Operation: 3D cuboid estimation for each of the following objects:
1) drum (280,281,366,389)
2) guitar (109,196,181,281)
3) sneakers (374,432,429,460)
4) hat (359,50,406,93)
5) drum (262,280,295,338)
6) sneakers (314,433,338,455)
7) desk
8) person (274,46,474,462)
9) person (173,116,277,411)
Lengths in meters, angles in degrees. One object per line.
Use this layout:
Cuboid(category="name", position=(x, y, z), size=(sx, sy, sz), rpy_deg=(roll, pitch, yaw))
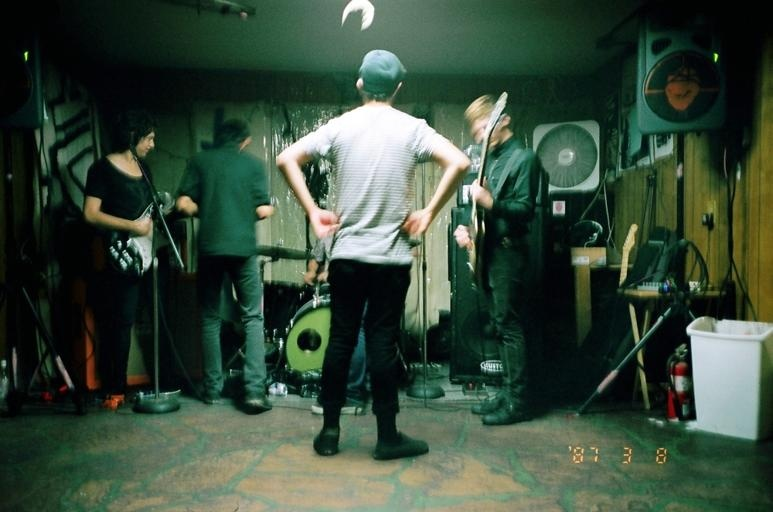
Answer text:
Cuboid(category="drum", position=(-0.464, 0.706, 6.988), size=(0.782, 0.795, 0.878), rpy_deg=(0, 44, 5))
Cuboid(category="guitar", position=(-1.898, -0.130, 6.316), size=(0.520, 0.632, 0.449), rpy_deg=(-8, 16, -27))
Cuboid(category="sneakers", position=(0.098, 1.300, 5.509), size=(0.333, 0.145, 0.162), rpy_deg=(-2, -7, -17))
Cuboid(category="hat", position=(-0.027, -1.222, 5.377), size=(0.286, 0.286, 0.168), rpy_deg=(-1, 15, -2))
Cuboid(category="drum", position=(-1.015, 0.470, 7.562), size=(0.381, 0.603, 0.415), rpy_deg=(-1, -6, 0))
Cuboid(category="sneakers", position=(-0.394, 1.287, 5.508), size=(0.177, 0.187, 0.118), rpy_deg=(1, -1, 1))
Cuboid(category="desk", position=(2.082, 0.697, 6.546), size=(1.137, 1.146, 0.826), rpy_deg=(0, -8, 5))
Cuboid(category="person", position=(-0.093, 0.009, 5.388), size=(1.159, 2.665, 0.637), rpy_deg=(-3, 14, -9))
Cuboid(category="person", position=(-1.248, 0.095, 6.300), size=(0.738, 2.233, 0.780), rpy_deg=(-3, 15, -9))
